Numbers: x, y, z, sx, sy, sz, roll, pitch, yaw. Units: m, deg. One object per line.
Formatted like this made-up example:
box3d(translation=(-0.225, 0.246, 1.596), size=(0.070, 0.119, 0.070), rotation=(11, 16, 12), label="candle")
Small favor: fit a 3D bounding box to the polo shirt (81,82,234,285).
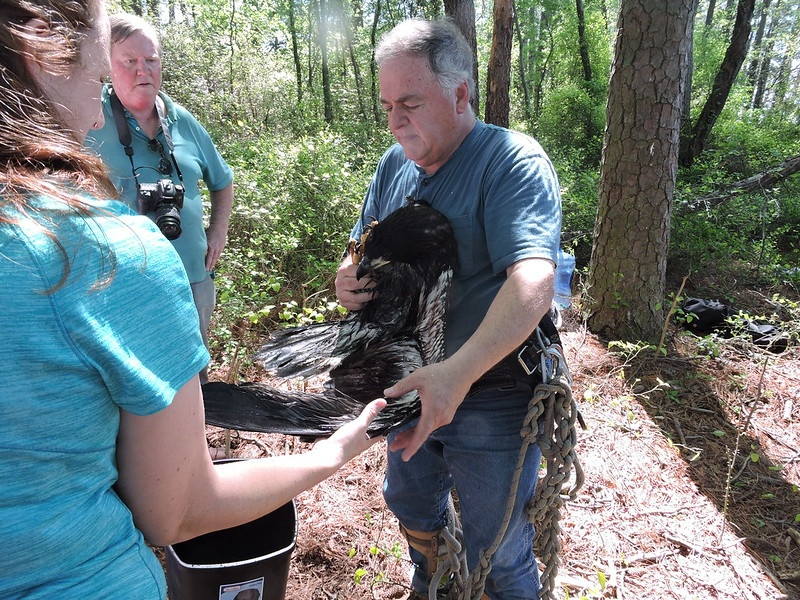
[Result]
box3d(translation=(-1.539, -0.814, 4.023), size=(0.509, 1.335, 1.034), rotation=(-11, 5, 46), label="polo shirt")
